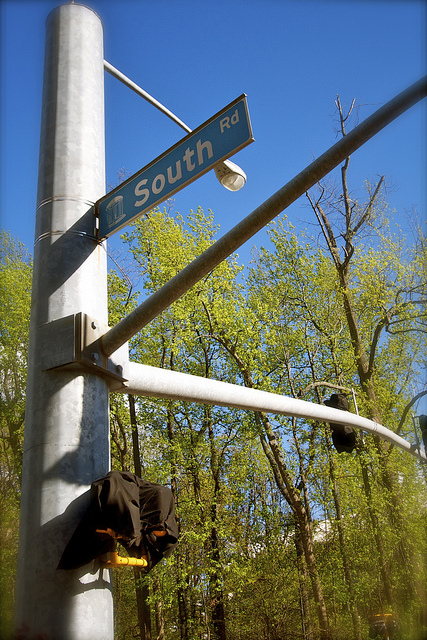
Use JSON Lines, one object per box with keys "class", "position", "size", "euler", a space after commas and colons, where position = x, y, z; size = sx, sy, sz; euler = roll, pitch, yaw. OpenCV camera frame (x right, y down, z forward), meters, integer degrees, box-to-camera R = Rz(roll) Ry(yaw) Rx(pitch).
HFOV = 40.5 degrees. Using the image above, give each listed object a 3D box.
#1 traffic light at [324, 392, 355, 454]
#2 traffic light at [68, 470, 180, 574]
{"class": "traffic light", "position": [1.495, 1.170, 6.832], "size": [0.279, 0.724, 0.933], "euler": [-13, -21, 9]}
{"class": "traffic light", "position": [-0.390, 0.838, 2.423], "size": [0.344, 0.239, 0.484], "euler": [12, -54, -32]}
